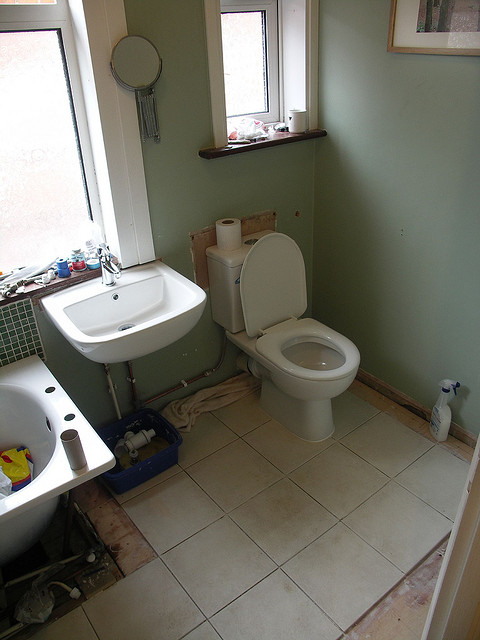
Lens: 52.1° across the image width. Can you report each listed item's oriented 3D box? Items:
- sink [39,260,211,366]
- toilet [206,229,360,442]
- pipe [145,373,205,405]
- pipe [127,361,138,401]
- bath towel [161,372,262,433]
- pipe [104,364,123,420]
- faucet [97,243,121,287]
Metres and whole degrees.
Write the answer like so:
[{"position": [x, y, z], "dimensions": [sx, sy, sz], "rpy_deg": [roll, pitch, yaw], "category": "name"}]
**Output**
[{"position": [-0.411, -0.019, 1.824], "dimensions": [0.523, 0.186, 0.461], "rpy_deg": [-22, 30, -30], "category": "sink"}, {"position": [0.219, 0.064, 2.246], "dimensions": [0.409, 0.880, 0.723], "rpy_deg": [-23, 35, -33], "category": "toilet"}, {"position": [-0.331, 0.336, 2.381], "dimensions": [0.323, 0.039, 0.038], "rpy_deg": [-26, 35, -22], "category": "pipe"}, {"position": [-0.472, 0.270, 2.154], "dimensions": [0.023, 0.165, 0.022], "rpy_deg": [-13, 27, -10], "category": "pipe"}, {"position": [-0.131, 0.393, 2.484], "dimensions": [0.600, 0.071, 0.198], "rpy_deg": [-20, 43, -38], "category": "bath towel"}, {"position": [-0.545, 0.312, 2.111], "dimensions": [0.024, 0.224, 0.033], "rpy_deg": [-13, 32, -12], "category": "pipe"}, {"position": [-0.513, -0.210, 1.911], "dimensions": [0.058, 0.157, 0.150], "rpy_deg": [-23, 51, -27], "category": "faucet"}]
